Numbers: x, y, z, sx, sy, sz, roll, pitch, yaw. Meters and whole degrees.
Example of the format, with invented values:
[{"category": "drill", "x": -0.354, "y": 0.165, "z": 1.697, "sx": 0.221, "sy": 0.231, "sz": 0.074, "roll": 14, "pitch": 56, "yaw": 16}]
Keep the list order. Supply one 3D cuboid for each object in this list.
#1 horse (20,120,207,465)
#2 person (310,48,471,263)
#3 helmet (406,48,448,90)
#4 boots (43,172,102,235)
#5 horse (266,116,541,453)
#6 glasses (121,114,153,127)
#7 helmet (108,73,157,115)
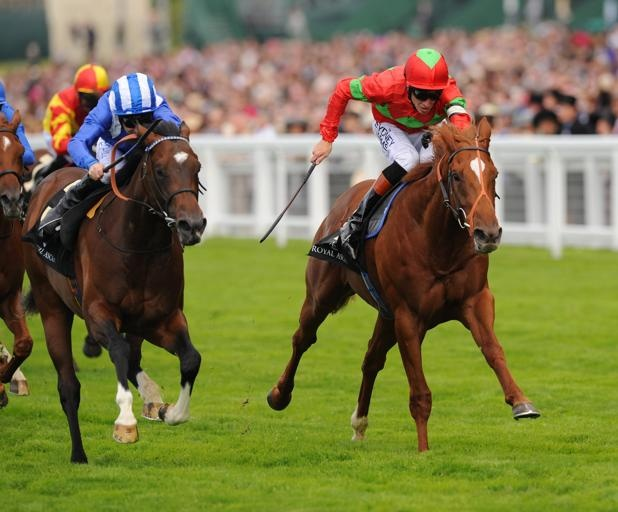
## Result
[{"category": "horse", "x": -1.152, "y": 0.269, "z": 7.599, "sx": 0.708, "sy": 1.979, "sz": 2.885, "roll": -5, "pitch": 0, "yaw": -26}, {"category": "person", "x": 0.617, "y": -0.679, "z": 7.776, "sx": 1.093, "sy": 1.312, "sz": 0.864, "roll": 14, "pitch": 31, "yaw": 25}, {"category": "helmet", "x": 0.679, "y": -1.087, "z": 7.413, "sx": 0.257, "sy": 0.240, "sz": 0.217, "roll": 0, "pitch": 9, "yaw": 5}, {"category": "boots", "x": -1.370, "y": -0.294, "z": 7.448, "sx": 0.143, "sy": 0.410, "sz": 0.108, "roll": 41, "pitch": -11, "yaw": 19}, {"category": "horse", "x": 0.594, "y": 0.149, "z": 7.301, "sx": 0.571, "sy": 1.886, "sz": 1.745, "roll": -9, "pitch": 12, "yaw": -38}, {"category": "glasses", "x": -0.984, "y": -0.781, "z": 7.305, "sx": 0.108, "sy": 0.039, "sz": 0.145, "roll": -6, "pitch": -7, "yaw": -9}, {"category": "helmet", "x": -0.994, "y": -0.932, "z": 7.346, "sx": 0.308, "sy": 0.241, "sz": 0.212, "roll": -2, "pitch": 9, "yaw": -8}]
